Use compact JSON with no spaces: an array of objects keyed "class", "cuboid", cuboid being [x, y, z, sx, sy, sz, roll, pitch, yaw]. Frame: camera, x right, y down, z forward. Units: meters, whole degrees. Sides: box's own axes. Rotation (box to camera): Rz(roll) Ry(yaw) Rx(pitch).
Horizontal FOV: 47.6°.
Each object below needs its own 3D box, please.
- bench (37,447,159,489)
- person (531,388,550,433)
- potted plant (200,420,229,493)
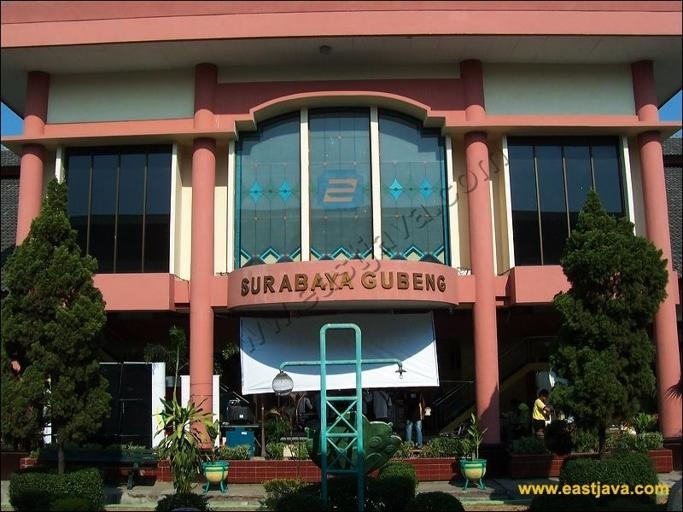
[{"class":"bench","cuboid":[-7.257,6.405,23.564,3.375,1.221,1.261,-1,-10,-5]},{"class":"person","cuboid":[6.696,5.189,25.897,0.617,1.472,3.179,-4,-11,14]},{"class":"potted plant","cuboid":[-3.796,5.864,22.836,0.783,2.090,0.774,-1,-7,-14]}]
